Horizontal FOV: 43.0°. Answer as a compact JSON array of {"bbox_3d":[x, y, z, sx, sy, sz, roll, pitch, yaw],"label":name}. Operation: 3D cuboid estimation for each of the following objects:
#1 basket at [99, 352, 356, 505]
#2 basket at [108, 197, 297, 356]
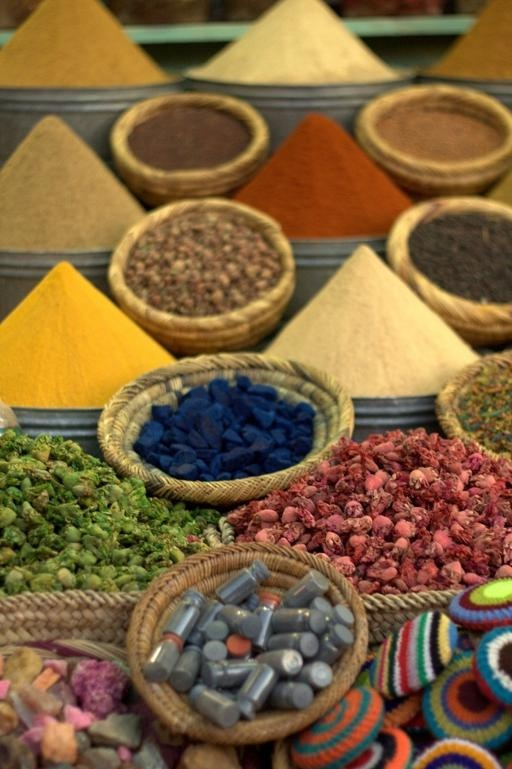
[{"bbox_3d":[-0.088,0.115,1.961,0.744,0.162,0.633,0,29,7],"label":"basket"},{"bbox_3d":[-0.215,-0.423,2.635,0.730,0.544,0.493,-3,29,2],"label":"basket"}]
